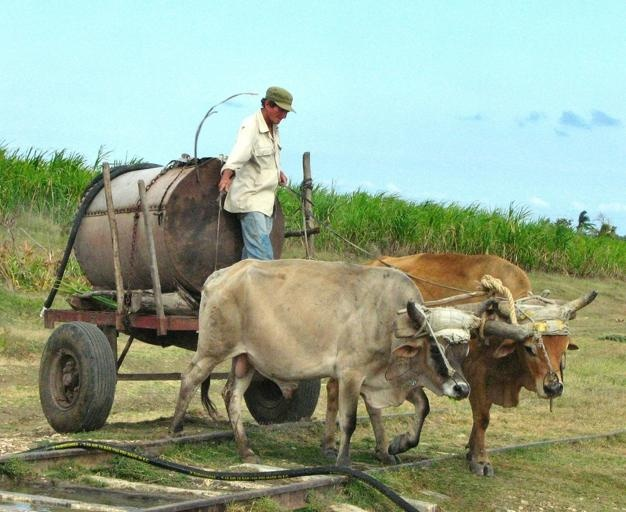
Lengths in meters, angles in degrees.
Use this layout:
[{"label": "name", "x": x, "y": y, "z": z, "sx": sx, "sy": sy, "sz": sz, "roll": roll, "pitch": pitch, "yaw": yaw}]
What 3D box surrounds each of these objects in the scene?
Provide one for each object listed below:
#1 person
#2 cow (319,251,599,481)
[{"label": "person", "x": -0.669, "y": -0.975, "z": 12.639, "sx": 0.630, "sy": 1.886, "sz": 1.115, "roll": 3, "pitch": 0, "yaw": 36}, {"label": "cow", "x": 0.697, "y": 1.010, "z": 12.778, "sx": 4.809, "sy": 2.972, "sz": 1.466, "roll": -7, "pitch": -6, "yaw": 43}]
